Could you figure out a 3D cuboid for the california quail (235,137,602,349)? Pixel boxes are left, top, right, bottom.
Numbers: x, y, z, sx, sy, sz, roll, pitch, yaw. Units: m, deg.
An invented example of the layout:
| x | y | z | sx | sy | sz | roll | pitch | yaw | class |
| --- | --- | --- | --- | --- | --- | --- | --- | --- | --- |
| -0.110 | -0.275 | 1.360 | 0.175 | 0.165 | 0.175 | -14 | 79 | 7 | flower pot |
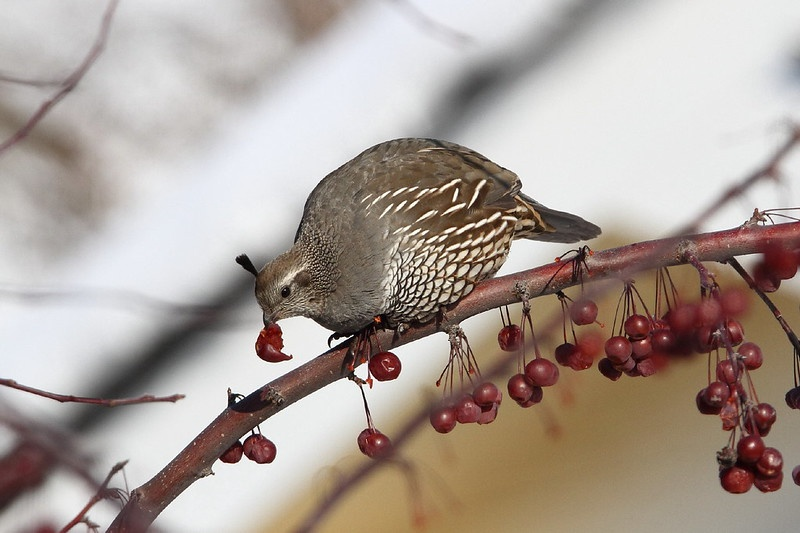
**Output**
| x | y | z | sx | sy | sz | roll | pitch | yaw | class |
| --- | --- | --- | --- | --- | --- | --- | --- | --- | --- |
| 0.092 | -0.057 | 7.839 | 2.602 | 1.279 | 1.212 | -36 | -58 | 1 | california quail |
